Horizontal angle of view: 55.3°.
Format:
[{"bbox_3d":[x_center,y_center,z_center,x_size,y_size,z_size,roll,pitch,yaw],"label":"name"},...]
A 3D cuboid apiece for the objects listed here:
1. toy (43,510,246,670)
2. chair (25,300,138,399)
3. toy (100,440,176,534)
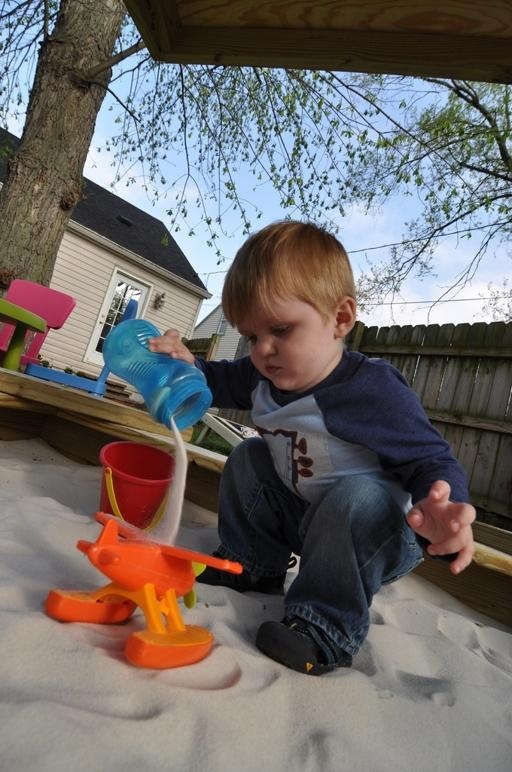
[{"bbox_3d":[-0.178,0.364,0.872,0.276,0.178,0.332,6,2,-41],"label":"toy"},{"bbox_3d":[-1.461,-0.320,4.069,0.725,0.795,0.644,15,-13,-27],"label":"chair"},{"bbox_3d":[-0.394,0.291,1.623,0.288,0.203,0.268,-2,30,-36],"label":"toy"}]
